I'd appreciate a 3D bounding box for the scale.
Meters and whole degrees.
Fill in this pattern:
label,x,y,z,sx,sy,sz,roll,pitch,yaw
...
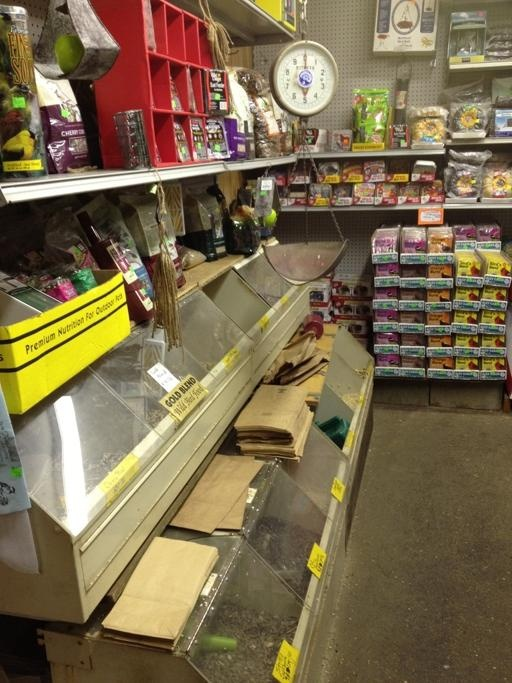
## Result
label,x,y,z,sx,sy,sz,roll,pitch,yaw
scale,0.177,-0.776,1.961,0.312,1.046,0.663,-2,23,7
